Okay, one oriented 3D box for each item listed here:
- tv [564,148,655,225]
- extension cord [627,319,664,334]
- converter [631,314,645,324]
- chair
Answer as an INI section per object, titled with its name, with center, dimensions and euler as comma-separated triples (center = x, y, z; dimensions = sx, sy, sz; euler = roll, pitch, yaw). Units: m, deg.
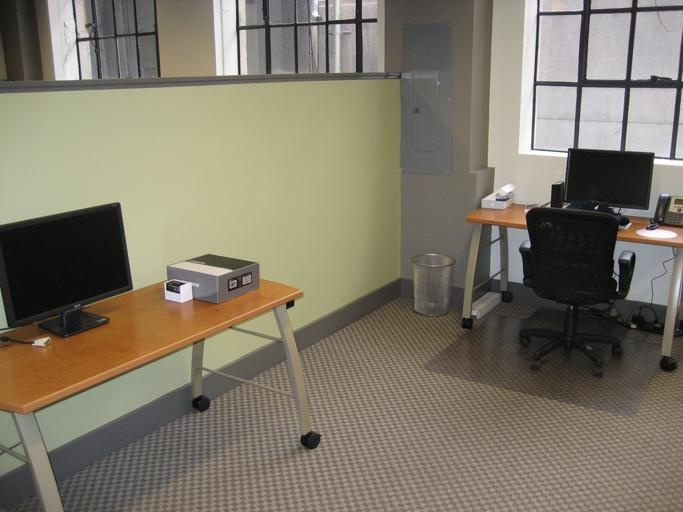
[tv]
center = 2.156, -0.556, 4.289
dimensions = 0.597, 0.462, 0.176
euler = 9, 19, 33
[extension cord]
center = 2.592, 0.602, 4.544
dimensions = 0.142, 0.041, 0.148
euler = -2, 7, -33
[converter]
center = 2.513, 0.540, 4.557
dimensions = 0.094, 0.094, 0.062
euler = 11, 26, 38
[chair]
center = 1.784, 0.198, 4.107
dimensions = 0.797, 1.238, 0.811
euler = 10, 19, 29
